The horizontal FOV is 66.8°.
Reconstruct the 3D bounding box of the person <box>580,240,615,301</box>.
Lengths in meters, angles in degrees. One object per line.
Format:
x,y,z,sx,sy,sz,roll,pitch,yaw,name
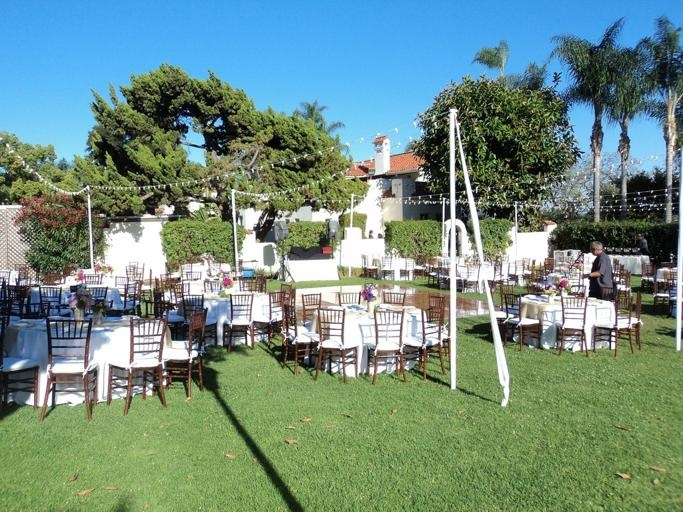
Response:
5.925,0.534,11.940,0.548,1.714,0.688,-5,22,15,person
